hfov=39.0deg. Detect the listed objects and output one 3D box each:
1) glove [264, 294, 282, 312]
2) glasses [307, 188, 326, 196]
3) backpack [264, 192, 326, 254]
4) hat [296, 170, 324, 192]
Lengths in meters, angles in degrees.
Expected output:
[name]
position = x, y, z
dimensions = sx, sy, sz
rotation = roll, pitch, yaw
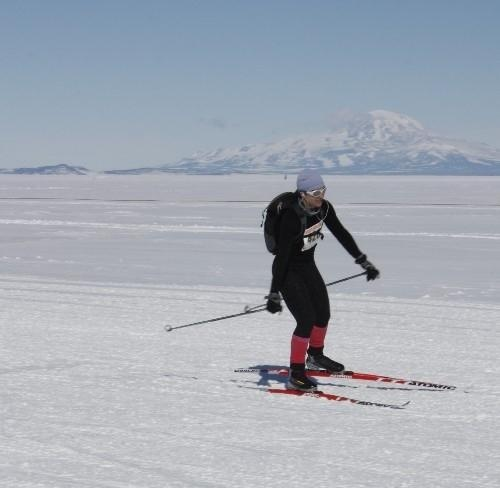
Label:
[glove]
position = 0.166, 0.420, 5.031
dimensions = 0.118, 0.158, 0.199
rotation = 4, 3, 2
[glasses]
position = 0.457, -0.360, 4.868
dimensions = 0.095, 0.020, 0.093
rotation = -14, 16, -43
[backpack]
position = 0.315, -0.153, 5.007
dimensions = 0.429, 0.430, 0.222
rotation = 3, 4, 4
[hat]
position = 0.411, -0.437, 4.856
dimensions = 0.193, 0.153, 0.277
rotation = 3, 3, 4
